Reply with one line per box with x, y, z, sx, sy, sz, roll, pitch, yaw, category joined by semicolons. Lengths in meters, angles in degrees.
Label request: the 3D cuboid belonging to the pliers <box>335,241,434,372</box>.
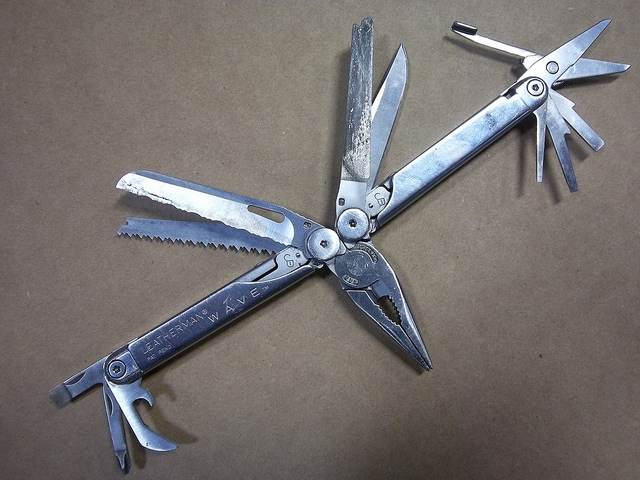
0.222;0.207;2.610;0.163;0.102;0.476;-41;-84;3;pliers

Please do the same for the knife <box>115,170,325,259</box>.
-0.319;-0.078;2.710;0.784;0.044;0.151;19;-85;0;knife

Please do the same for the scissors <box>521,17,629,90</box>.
0.860;-0.591;2.726;0.364;0.154;0.185;-23;-83;1;scissors
